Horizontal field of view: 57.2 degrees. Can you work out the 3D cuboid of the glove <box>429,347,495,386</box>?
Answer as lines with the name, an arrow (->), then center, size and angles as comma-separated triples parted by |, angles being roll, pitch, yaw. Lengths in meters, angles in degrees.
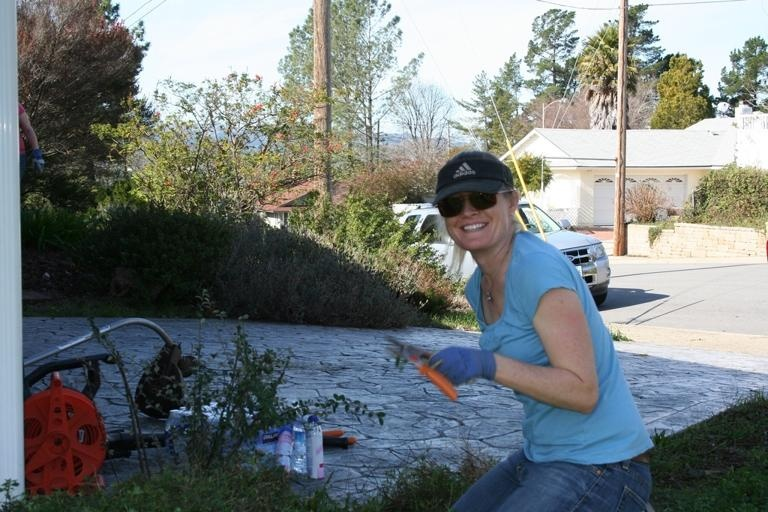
glove -> 0.450, 0.619, 3.996 | 0.377, 0.204, 0.153 | 0, 0, 3

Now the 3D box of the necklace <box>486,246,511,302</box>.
necklace -> 0.734, 0.117, 4.468 | 0.077, 0.340, 0.169 | -4, 4, -44

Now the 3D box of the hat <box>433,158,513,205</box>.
hat -> 0.565, -0.525, 4.577 | 0.508, 0.388, 0.732 | -7, 0, 16
